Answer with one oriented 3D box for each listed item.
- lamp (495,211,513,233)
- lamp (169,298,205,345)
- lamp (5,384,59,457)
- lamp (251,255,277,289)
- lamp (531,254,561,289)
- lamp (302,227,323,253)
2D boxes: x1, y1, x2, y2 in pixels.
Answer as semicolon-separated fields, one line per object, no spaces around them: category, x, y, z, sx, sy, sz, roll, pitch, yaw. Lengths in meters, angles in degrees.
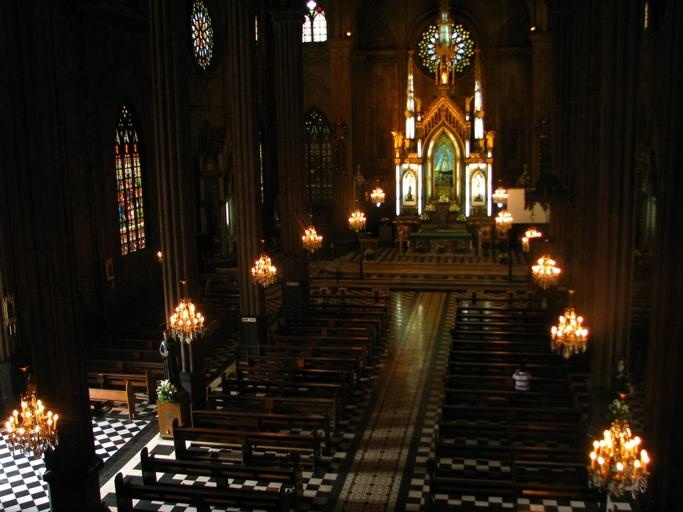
lamp;7.655;-1.694;30.540;0.644;1.141;1.843;1;-2;13
lamp;-4.048;1.644;16.998;0.851;0.935;0.389;2;-1;-20
lamp;-5.830;3.097;12.281;0.845;1.277;0.616;2;-1;-18
lamp;-2.539;0.451;21.235;0.808;0.743;0.547;2;-2;-12
lamp;6.529;0.419;20.641;0.943;1.569;1.014;3;10;12
lamp;-1.164;-0.722;25.224;0.585;0.661;0.773;1;-2;16
